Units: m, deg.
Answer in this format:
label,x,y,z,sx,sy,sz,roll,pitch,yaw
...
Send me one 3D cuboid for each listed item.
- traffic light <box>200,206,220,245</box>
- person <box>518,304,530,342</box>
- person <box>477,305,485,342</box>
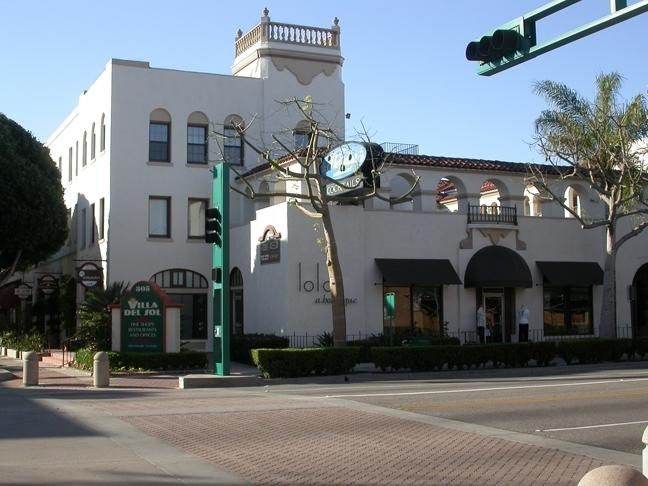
label,x,y,z,sx,sy,sz,roll,pitch,yaw
traffic light,-3.861,-0.635,29.025,0.668,1.239,0.643,3,1,-23
person,9.309,3.732,38.213,0.525,1.706,1.057,-3,-8,14
person,7.228,3.767,37.682,0.387,1.728,0.698,-3,-8,11
